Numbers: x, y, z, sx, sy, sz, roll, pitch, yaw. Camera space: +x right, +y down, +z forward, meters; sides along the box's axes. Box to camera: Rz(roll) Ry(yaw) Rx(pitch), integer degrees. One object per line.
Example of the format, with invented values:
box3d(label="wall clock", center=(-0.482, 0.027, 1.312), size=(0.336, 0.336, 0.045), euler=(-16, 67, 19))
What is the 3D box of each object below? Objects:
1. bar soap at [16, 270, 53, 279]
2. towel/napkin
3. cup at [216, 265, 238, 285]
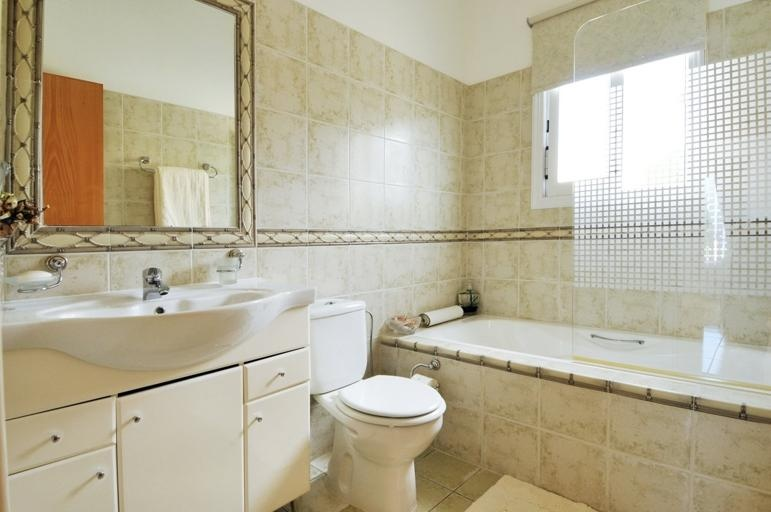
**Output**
box3d(label="bar soap", center=(-1.522, 0.085, 2.431), size=(0.110, 0.039, 0.117), euler=(2, 5, 37))
box3d(label="towel/napkin", center=(-1.036, -0.302, 2.821), size=(0.335, 0.440, 0.073), euler=(-2, 5, -41))
box3d(label="cup", center=(-0.803, 0.094, 2.884), size=(0.094, 0.092, 0.095), euler=(1, 0, 0))
